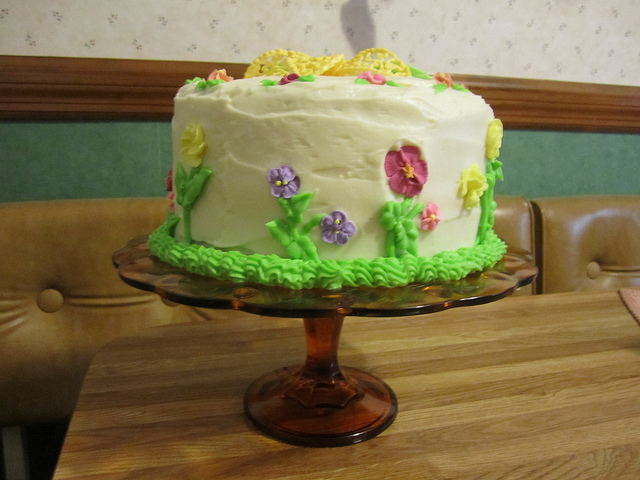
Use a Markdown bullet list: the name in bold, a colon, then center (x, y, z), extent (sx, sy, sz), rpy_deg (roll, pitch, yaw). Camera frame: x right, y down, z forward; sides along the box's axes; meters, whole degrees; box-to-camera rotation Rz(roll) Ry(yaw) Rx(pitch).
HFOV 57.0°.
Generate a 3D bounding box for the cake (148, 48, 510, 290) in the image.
- **cake**: center (0.033, -0.272, 1.713), extent (1.023, 0.413, 0.858), rpy_deg (-3, 14, -20)

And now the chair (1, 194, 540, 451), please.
- **chair**: center (-0.141, 0.235, 1.594), extent (1.368, 0.354, 0.365), rpy_deg (-2, 3, -19)

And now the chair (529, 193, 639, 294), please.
- **chair**: center (1.161, 0.004, 2.569), extent (0.483, 0.388, 0.328), rpy_deg (-3, 18, -2)
